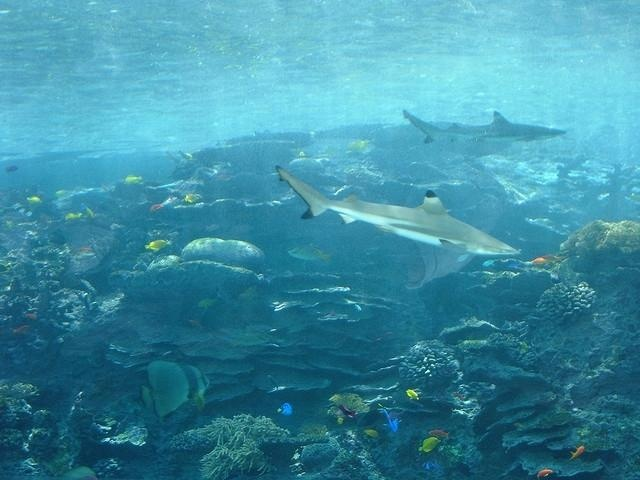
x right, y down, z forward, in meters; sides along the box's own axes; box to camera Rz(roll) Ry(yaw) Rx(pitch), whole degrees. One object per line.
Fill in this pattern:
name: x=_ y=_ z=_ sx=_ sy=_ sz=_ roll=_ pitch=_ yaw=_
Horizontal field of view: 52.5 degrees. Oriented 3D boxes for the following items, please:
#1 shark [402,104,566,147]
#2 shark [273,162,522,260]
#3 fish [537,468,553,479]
shark: x=8.074 y=-6.130 z=36.200 sx=7.744 sy=1.622 sz=11.071 roll=-3 pitch=7 yaw=1
shark: x=3.347 y=-0.888 z=26.070 sx=10.552 sy=1.526 sz=1.396 roll=14 pitch=-5 yaw=-17
fish: x=9.031 y=9.415 z=26.076 sx=0.668 sy=0.393 sz=0.164 roll=-5 pitch=12 yaw=-2
